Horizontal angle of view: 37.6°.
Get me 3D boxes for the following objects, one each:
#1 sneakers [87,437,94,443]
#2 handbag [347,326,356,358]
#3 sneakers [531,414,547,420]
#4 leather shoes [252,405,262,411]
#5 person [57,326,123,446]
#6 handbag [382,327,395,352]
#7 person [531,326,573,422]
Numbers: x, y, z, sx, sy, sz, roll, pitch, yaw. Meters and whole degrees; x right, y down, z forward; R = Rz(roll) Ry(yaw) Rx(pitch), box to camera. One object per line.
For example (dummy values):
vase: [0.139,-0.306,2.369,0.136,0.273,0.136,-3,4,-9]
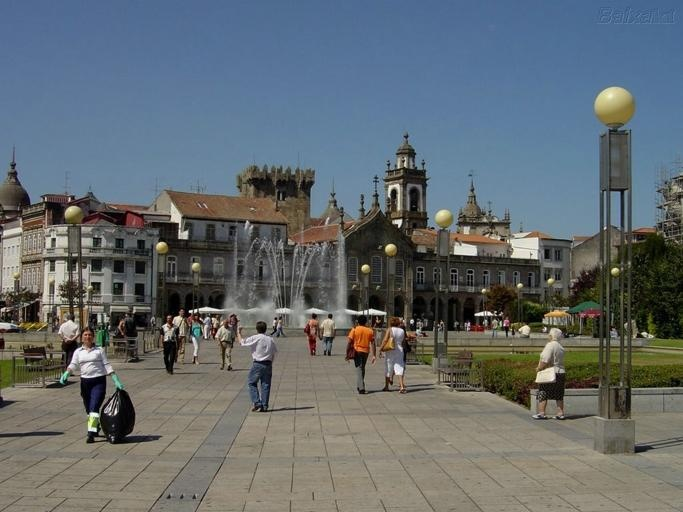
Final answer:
sneakers: [-4.721,3.423,18.696,0.159,0.130,0.226,0,-3,-15]
handbag: [0.220,2.200,25.025,0.226,0.772,0.572,-1,-3,0]
sneakers: [4.172,3.379,21.017,0.215,0.081,0.124,4,-7,1]
leather shoes: [-1.916,3.337,21.969,0.260,0.142,0.179,-3,-4,38]
person: [-4.847,2.441,19.298,1.033,2.129,1.356,0,-3,-17]
handbag: [1.139,2.121,25.200,0.331,0.590,0.501,0,-3,-18]
person: [4.388,2.492,21.086,0.647,1.902,0.547,-1,-3,7]
